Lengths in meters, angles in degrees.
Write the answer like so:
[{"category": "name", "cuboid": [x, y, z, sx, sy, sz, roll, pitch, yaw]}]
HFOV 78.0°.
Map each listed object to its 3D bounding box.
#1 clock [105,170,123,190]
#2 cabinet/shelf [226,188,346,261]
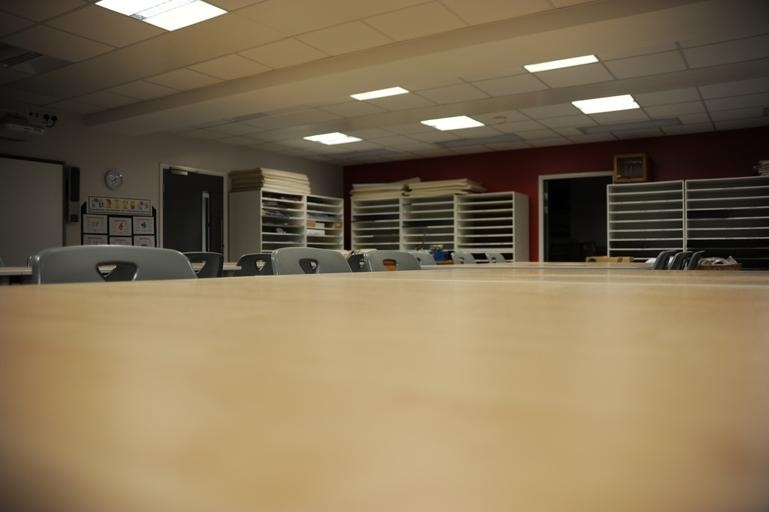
[{"category": "clock", "cuboid": [-3.995, -1.143, 7.034, 0.056, 0.206, 0.285, -1, 5, 40]}, {"category": "cabinet/shelf", "cuboid": [-1.744, -0.563, 7.897, 0.415, 1.397, 1.529, -5, -7, 38]}]
